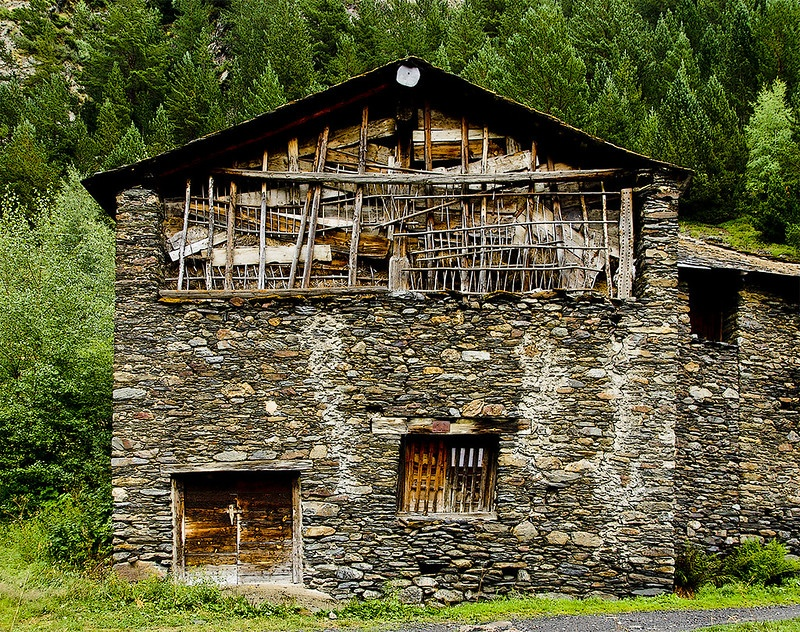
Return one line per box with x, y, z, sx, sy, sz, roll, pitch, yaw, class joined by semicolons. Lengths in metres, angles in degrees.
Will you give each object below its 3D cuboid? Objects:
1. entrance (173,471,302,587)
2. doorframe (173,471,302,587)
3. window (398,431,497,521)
-3.957;5.210;33.917;2.903;2.240;0.815;0;-5;-21;entrance
-3.961;5.206;33.918;3.284;2.592;0.984;4;-14;-36;doorframe
1.146;3.958;34.091;2.394;1.753;0.187;2;-1;-1;window
